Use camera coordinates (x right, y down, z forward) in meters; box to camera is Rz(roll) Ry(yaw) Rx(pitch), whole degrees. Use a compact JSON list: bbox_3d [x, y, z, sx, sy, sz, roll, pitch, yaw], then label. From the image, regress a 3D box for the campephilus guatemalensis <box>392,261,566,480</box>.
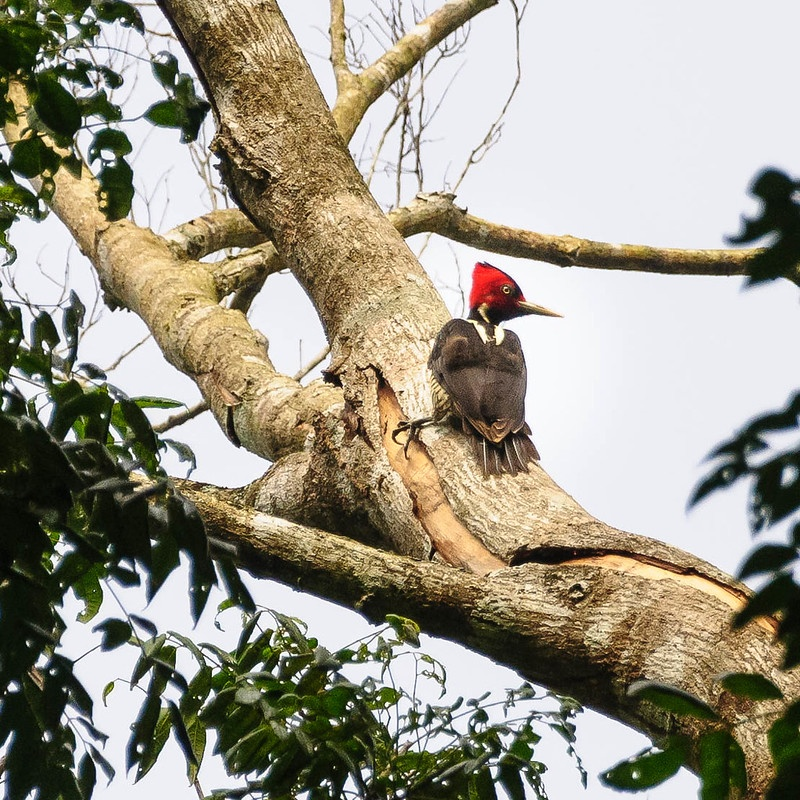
[{"bbox_3d":[0.274,-0.120,6.666,0.313,0.856,0.695,13,-14,-12],"label":"campephilus guatemalensis"}]
